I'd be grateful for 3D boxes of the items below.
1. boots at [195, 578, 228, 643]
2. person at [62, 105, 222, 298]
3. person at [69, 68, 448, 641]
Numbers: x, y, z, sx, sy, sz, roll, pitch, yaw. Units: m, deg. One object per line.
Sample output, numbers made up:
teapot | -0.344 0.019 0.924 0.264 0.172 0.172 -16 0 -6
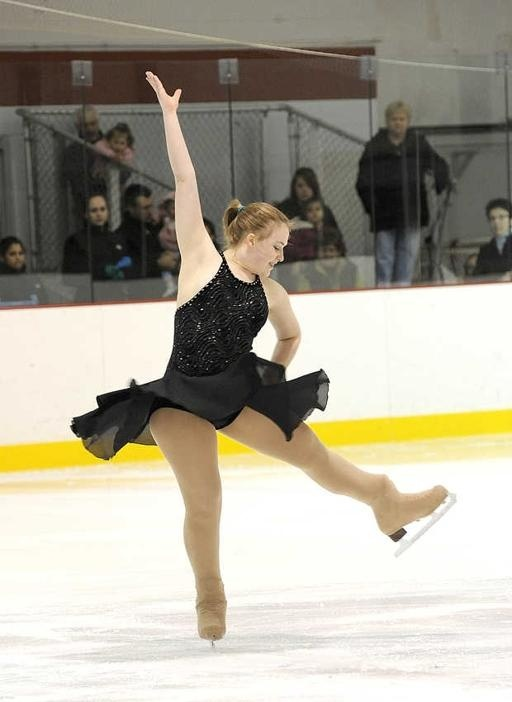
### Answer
boots | -0.118 0.644 2.213 0.063 0.122 0.186 4 11 -11
person | -0.833 -0.906 5.595 0.921 1.094 0.329 -4 3 -30
person | -0.046 -0.048 2.485 0.823 1.495 0.482 -6 5 -42
